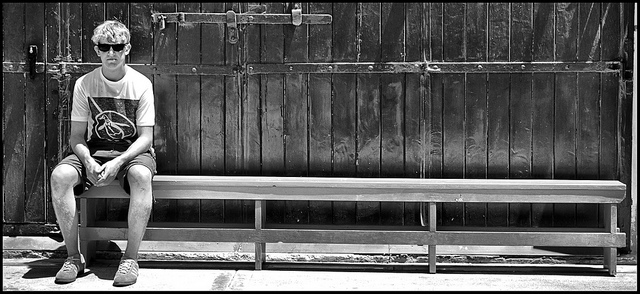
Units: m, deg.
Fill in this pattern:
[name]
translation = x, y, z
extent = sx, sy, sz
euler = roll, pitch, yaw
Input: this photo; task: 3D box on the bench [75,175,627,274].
[bench]
translation = 0.362, 0.878, 7.366
extent = 6.570, 0.882, 0.834
euler = 0, -84, 8
